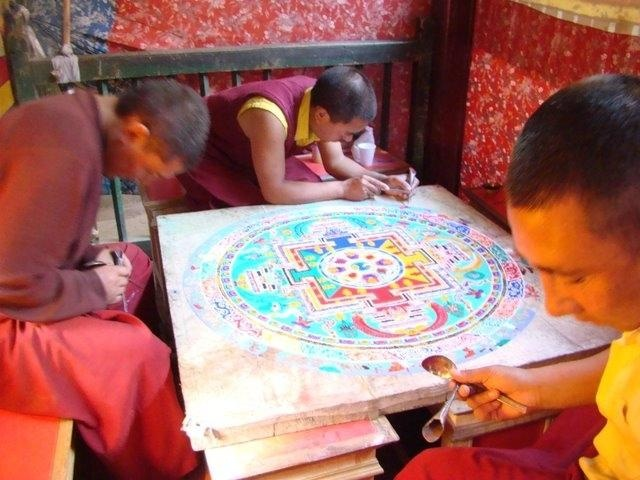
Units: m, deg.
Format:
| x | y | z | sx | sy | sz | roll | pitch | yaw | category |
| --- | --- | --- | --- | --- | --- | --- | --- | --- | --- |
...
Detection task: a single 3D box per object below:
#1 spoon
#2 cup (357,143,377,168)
| x | y | z | sx | sy | sz | roll | pitch | yaw | category |
| --- | --- | --- | --- | --- | --- | --- | --- | --- | --- |
| 0.316 | 0.338 | 1.139 | 0.064 | 0.044 | 0.314 | -25 | 5 | -4 | spoon |
| 0.279 | -0.513 | 2.918 | 0.103 | 0.138 | 0.146 | -17 | 23 | -32 | cup |
